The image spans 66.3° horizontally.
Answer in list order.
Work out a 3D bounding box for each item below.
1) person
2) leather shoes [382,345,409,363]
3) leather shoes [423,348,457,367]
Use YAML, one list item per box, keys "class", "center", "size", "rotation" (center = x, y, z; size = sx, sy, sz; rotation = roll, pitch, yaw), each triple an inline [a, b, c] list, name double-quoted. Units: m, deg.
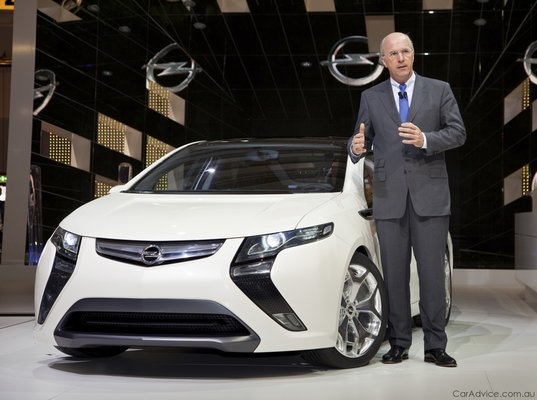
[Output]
- class: "person"
  center: [0.874, -0.035, 2.724]
  size: [0.687, 2.178, 0.675]
  rotation: [-1, 0, 40]
- class: "leather shoes"
  center: [0.838, 1.012, 2.700]
  size: [0.084, 0.105, 0.222]
  rotation: [-2, -15, 38]
- class: "leather shoes"
  center: [1.073, 0.993, 2.568]
  size: [0.082, 0.102, 0.214]
  rotation: [1, -9, -23]
